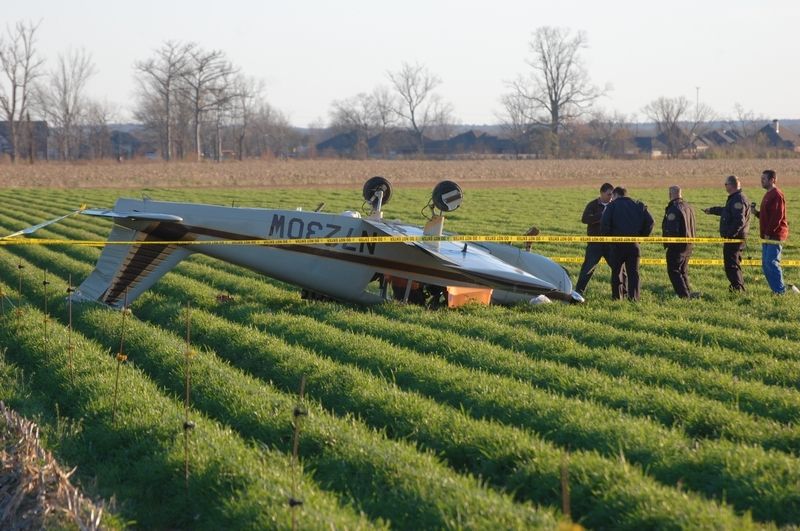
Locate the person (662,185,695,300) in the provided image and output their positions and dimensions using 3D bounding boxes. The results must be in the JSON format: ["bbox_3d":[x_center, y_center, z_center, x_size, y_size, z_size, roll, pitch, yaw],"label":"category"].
[{"bbox_3d":[5.783,-0.495,18.174,0.653,2.201,0.987,3,10,16],"label":"person"}]

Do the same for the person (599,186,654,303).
[{"bbox_3d":[4.670,-0.449,18.179,0.955,2.215,0.889,9,13,43],"label":"person"}]
